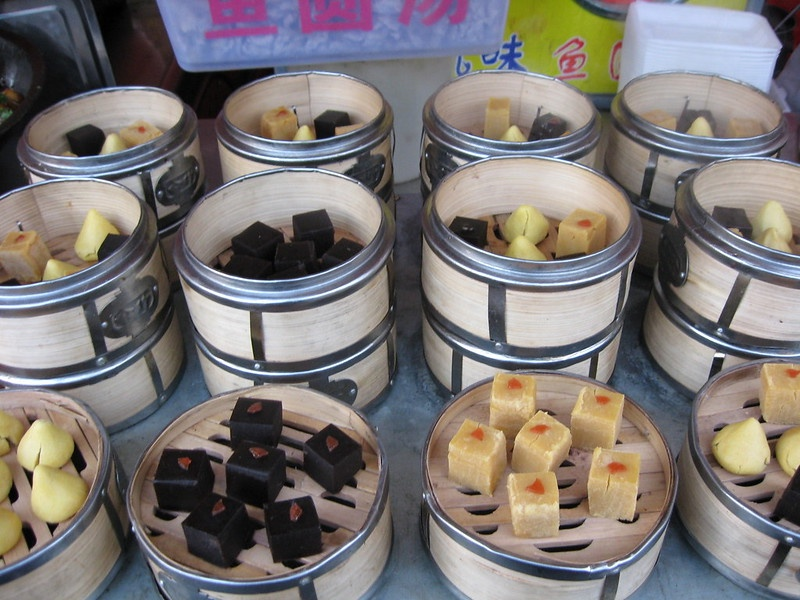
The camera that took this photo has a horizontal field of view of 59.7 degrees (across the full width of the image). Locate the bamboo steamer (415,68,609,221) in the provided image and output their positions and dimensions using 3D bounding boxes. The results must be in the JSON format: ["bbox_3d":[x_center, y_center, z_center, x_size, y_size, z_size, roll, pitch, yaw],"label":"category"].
[{"bbox_3d":[0.612,-0.737,3.597,0.828,0.635,0.865,22,41,18],"label":"bamboo steamer"}]
